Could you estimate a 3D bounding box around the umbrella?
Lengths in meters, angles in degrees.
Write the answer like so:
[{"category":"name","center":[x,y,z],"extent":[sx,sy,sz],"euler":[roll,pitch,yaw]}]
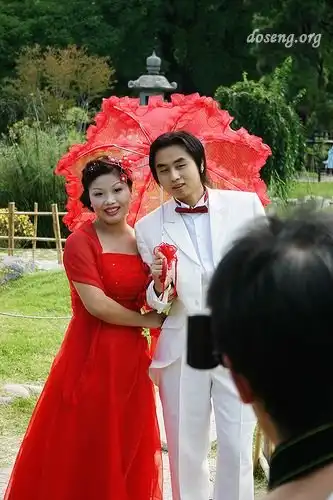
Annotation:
[{"category":"umbrella","center":[0.025,-0.326,2.560],"extent":[0.931,0.803,0.276],"euler":[-1,36,4]}]
